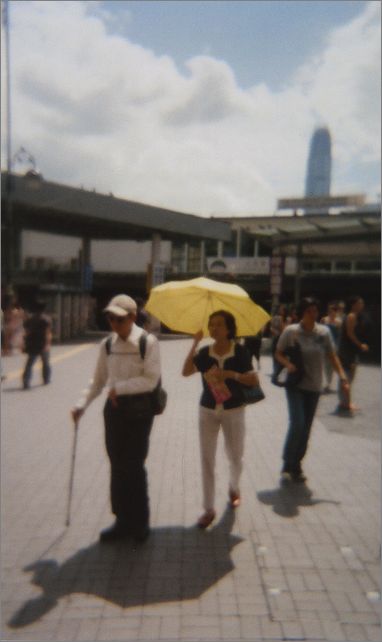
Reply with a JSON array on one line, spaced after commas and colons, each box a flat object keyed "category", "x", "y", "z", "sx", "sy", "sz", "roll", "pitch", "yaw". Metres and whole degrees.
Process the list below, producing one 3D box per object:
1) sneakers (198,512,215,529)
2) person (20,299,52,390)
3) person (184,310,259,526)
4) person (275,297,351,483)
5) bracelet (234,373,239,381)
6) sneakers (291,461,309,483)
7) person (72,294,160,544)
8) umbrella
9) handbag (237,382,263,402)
[{"category": "sneakers", "x": 0.099, "y": 1.254, "z": 3.776, "sx": 0.073, "sy": 0.082, "sz": 0.194, "roll": 2, "pitch": 3, "yaw": 23}, {"category": "person", "x": -2.588, "y": 0.365, "z": 9.783, "sx": 0.404, "sy": 1.385, "sz": 0.947, "roll": 1, "pitch": 3, "yaw": 6}, {"category": "person", "x": 0.205, "y": 0.642, "z": 3.929, "sx": 0.492, "sy": 1.283, "sz": 0.353, "roll": -1, "pitch": 3, "yaw": -28}, {"category": "person", "x": 0.915, "y": 0.530, "z": 4.769, "sx": 0.542, "sy": 1.441, "sz": 0.305, "roll": -2, "pitch": 3, "yaw": -37}, {"category": "bracelet", "x": 0.290, "y": 0.355, "z": 3.800, "sx": 0.016, "sy": 0.045, "sz": 0.038, "roll": -2, "pitch": 5, "yaw": -11}, {"category": "sneakers", "x": 0.846, "y": 1.185, "z": 4.718, "sx": 0.135, "sy": 0.179, "sz": 0.097, "roll": -5, "pitch": 13, "yaw": -20}, {"category": "person", "x": -0.427, "y": 0.572, "z": 3.558, "sx": 0.515, "sy": 1.469, "sz": 0.367, "roll": 2, "pitch": 3, "yaw": 30}, {"category": "umbrella", "x": 0.073, "y": -0.123, "z": 4.117, "sx": 0.530, "sy": 0.206, "sz": 0.567, "roll": 14, "pitch": -34, "yaw": 13}, {"category": "handbag", "x": 0.375, "y": 0.455, "z": 3.846, "sx": 0.094, "sy": 0.133, "sz": 0.059, "roll": -8, "pitch": -22, "yaw": -18}]
